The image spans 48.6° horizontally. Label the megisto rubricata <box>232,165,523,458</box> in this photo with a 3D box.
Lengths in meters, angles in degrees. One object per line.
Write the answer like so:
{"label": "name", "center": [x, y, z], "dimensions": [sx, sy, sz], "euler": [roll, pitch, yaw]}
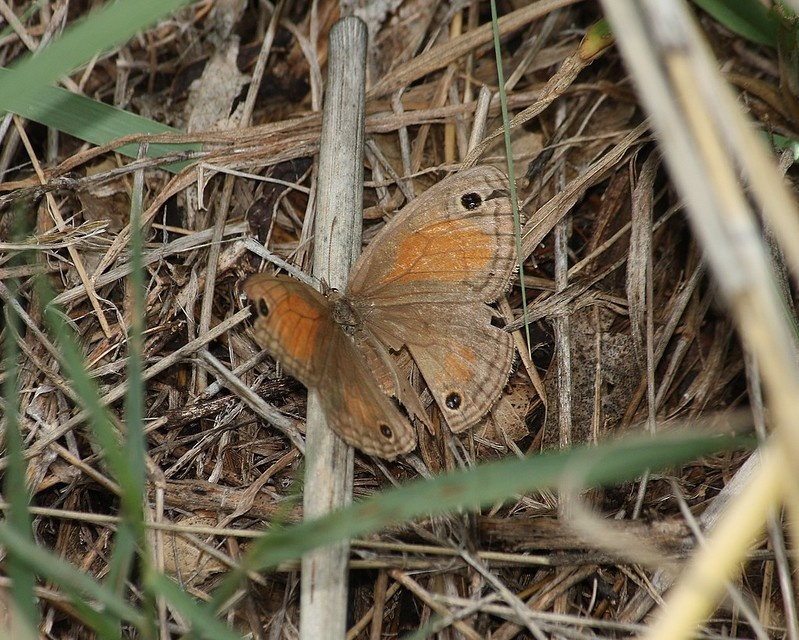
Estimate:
{"label": "megisto rubricata", "center": [0.004, 0.029, 3.016], "dimensions": [0.966, 0.705, 0.602], "euler": [-18, 44, -12]}
